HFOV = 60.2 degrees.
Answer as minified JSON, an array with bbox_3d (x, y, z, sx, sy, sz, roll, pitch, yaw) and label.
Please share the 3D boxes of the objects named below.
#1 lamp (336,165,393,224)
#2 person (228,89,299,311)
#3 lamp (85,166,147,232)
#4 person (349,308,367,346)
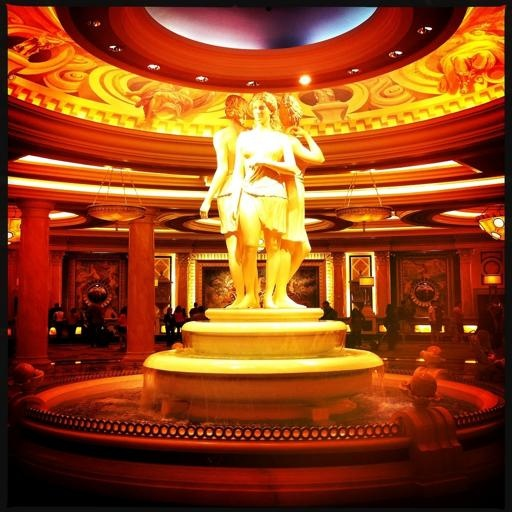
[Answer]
[{"bbox_3d":[2.549,-1.463,10.468,1.374,1.287,1.268,-1,-4,-22],"label":"lamp"},{"bbox_3d":[0.060,-0.481,3.717,0.571,1.819,0.400,-2,-3,6],"label":"person"},{"bbox_3d":[-3.138,-1.408,9.392,0.917,0.927,0.859,-19,14,-17],"label":"lamp"},{"bbox_3d":[3.277,2.290,14.295,0.478,1.199,0.676,-2,-3,11],"label":"person"}]
